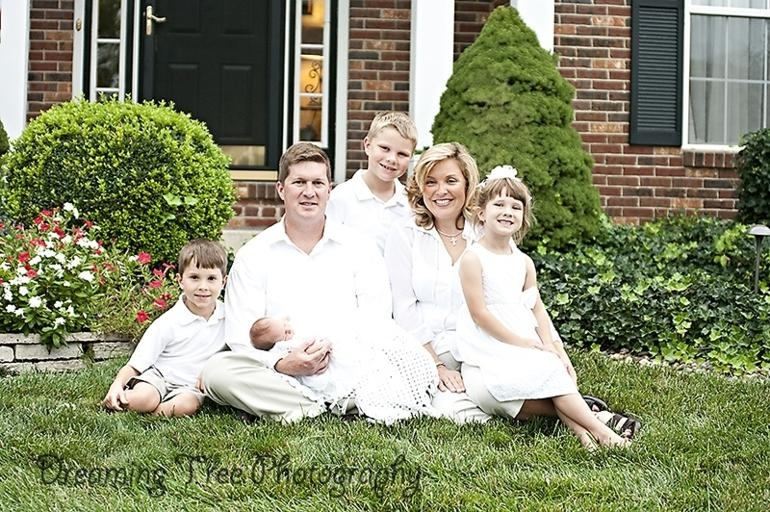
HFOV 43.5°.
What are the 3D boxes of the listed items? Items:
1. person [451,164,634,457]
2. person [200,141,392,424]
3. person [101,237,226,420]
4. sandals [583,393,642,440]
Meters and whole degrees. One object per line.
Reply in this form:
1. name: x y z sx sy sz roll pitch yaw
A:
1. person: 0.931 0.280 6.419 0.988 1.777 0.583 2 1 20
2. person: -0.579 0.156 6.509 1.215 1.843 0.502 1 1 0
3. person: -1.605 0.561 6.921 1.121 1.259 0.785 1 11 -21
4. sandals: 1.470 1.061 6.324 0.161 0.147 0.417 -32 51 -28
